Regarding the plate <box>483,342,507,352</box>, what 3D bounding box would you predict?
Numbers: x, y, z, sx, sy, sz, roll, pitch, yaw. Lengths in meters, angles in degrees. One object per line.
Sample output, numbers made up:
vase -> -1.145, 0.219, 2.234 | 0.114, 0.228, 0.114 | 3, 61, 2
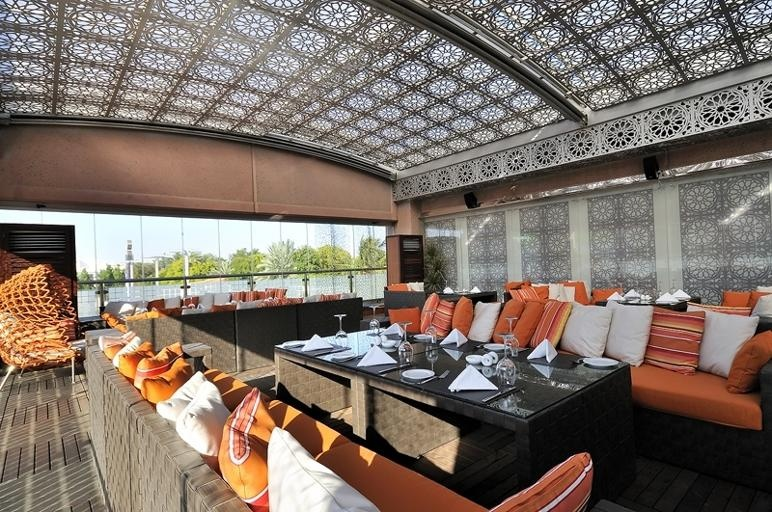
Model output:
plate -> 1.162, 0.966, 4.669 | 0.147, 0.020, 0.162 | -2, -1, -37

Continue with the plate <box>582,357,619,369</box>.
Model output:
plate -> 2.051, 1.010, 4.129 | 0.327, 0.072, 0.191 | -2, 0, 22

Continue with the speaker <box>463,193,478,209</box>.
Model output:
speaker -> 2.414, -1.551, 12.065 | 0.390, 0.384, 0.276 | -2, 0, 12

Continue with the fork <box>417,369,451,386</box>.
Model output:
fork -> 0.450, 1.117, 4.030 | 0.325, 0.034, 0.042 | -8, 18, -31

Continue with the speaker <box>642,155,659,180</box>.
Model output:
speaker -> 5.575, -1.848, 9.036 | 0.309, 0.359, 0.199 | -2, 0, 20

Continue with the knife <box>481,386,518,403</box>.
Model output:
knife -> 0.988, 1.165, 3.690 | 0.407, 0.040, 0.115 | -4, 4, -40
